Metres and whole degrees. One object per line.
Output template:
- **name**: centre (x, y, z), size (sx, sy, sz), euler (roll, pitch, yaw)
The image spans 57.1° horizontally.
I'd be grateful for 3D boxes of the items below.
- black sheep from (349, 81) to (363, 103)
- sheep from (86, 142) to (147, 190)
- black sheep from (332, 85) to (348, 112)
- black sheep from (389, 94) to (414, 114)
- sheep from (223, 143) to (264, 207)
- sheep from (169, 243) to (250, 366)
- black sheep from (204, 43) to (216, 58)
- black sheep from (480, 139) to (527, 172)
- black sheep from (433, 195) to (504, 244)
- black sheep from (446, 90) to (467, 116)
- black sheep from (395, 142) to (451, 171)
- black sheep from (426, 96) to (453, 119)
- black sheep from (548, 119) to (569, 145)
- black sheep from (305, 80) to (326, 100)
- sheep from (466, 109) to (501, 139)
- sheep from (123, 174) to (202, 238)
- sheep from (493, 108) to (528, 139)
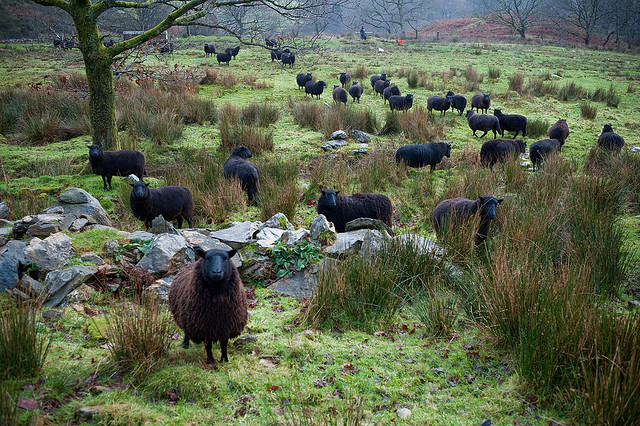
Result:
- **black sheep**: centre (1.391, -4.750, 23.199), size (0.460, 0.777, 1.110), euler (0, 10, 3)
- **sheep**: centre (-4.619, -1.019, 13.436), size (0.465, 0.920, 1.650), euler (5, 5, 31)
- **black sheep**: centre (0.716, -4.370, 21.875), size (0.405, 0.740, 1.362), euler (-3, 24, -8)
- **black sheep**: centre (2.865, -3.935, 20.954), size (0.817, 0.567, 0.661), euler (3, 11, 15)
- **sheep**: centre (-1.760, -0.865, 13.579), size (0.918, 1.230, 1.395), euler (-2, 10, -9)
- **sheep**: centre (-1.714, 1.389, 8.940), size (1.131, 1.711, 0.559), euler (4, 11, 19)
- **black sheep**: centre (-6.866, -10.108, 36.737), size (0.468, 0.770, 1.168), euler (-1, 10, -2)
- **black sheep**: centre (4.962, -1.677, 16.190), size (0.889, 0.711, 1.545), euler (8, 13, 37)
- **black sheep**: centre (2.799, 0.080, 11.341), size (0.591, 0.884, 1.246), euler (-10, 14, -42)
- **black sheep**: centre (5.070, -3.991, 21.332), size (0.345, 0.622, 1.108), euler (2, -9, 41)
- **black sheep**: centre (2.796, -1.442, 15.777), size (1.627, 0.882, 0.527), euler (-5, 13, -16)
- **black sheep**: centre (4.278, -3.906, 20.980), size (0.849, 0.498, 0.665), euler (2, 10, 10)
- **black sheep**: centre (7.175, -2.482, 17.572), size (0.441, 0.602, 1.001), euler (-4, 41, 34)
- **black sheep**: centre (-0.155, -4.783, 22.818), size (0.649, 0.695, 1.221), euler (-6, 12, -31)
- **sheep**: centre (5.212, -2.845, 19.051), size (0.462, 0.866, 1.546), euler (-10, 18, -32)
- **sheep**: centre (-3.250, -0.028, 12.008), size (0.670, 1.183, 1.957), euler (1, 4, 25)
- **sheep**: centre (6.047, -2.892, 18.928), size (1.258, 0.817, 0.402), euler (16, 19, 41)
